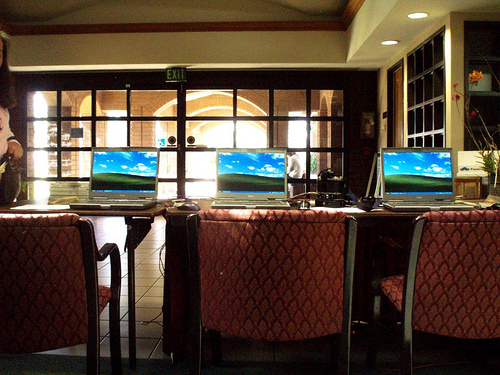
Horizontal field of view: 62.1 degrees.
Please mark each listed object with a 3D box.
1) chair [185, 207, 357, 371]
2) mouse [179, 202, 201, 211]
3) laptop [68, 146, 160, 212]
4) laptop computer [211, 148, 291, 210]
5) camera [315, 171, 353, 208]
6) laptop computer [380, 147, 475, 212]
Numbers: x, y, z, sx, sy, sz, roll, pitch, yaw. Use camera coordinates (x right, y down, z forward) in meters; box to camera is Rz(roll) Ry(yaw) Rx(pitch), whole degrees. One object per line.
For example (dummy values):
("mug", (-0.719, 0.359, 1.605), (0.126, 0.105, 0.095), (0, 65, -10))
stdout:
("chair", (0.075, 0.456, 2.413), (0.754, 0.985, 0.836), (1, 2, 6))
("mouse", (-0.364, 0.122, 2.591), (0.126, 0.040, 0.162), (1, 2, 7))
("laptop", (-0.954, -0.072, 2.969), (0.549, 0.414, 0.475), (0, 5, -3))
("laptop computer", (0.008, -0.059, 2.936), (0.556, 0.398, 0.392), (1, 4, 3))
("camera", (0.603, 0.014, 2.962), (0.260, 0.236, 0.308), (1, 1, 11))
("laptop computer", (1.178, -0.058, 2.770), (0.542, 0.406, 0.452), (0, 4, 2))
